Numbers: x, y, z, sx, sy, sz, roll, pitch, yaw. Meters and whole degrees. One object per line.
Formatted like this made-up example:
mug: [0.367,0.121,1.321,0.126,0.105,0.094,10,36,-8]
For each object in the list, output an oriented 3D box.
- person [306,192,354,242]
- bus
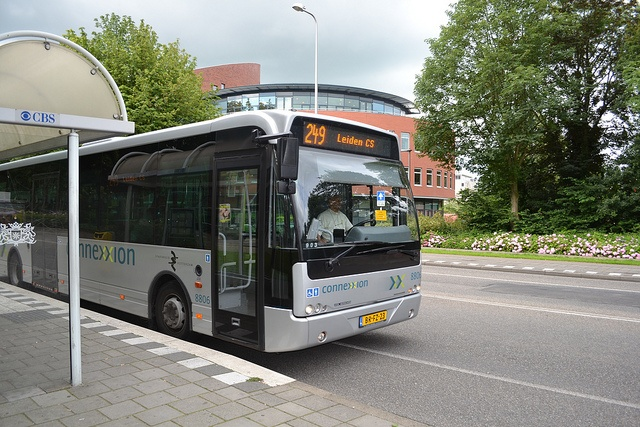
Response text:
person: [0.187,0.076,7.883,0.204,0.874,0.990,7,7,39]
bus: [-2.192,0.260,9.637,8.240,4.484,2.722,5,6,25]
